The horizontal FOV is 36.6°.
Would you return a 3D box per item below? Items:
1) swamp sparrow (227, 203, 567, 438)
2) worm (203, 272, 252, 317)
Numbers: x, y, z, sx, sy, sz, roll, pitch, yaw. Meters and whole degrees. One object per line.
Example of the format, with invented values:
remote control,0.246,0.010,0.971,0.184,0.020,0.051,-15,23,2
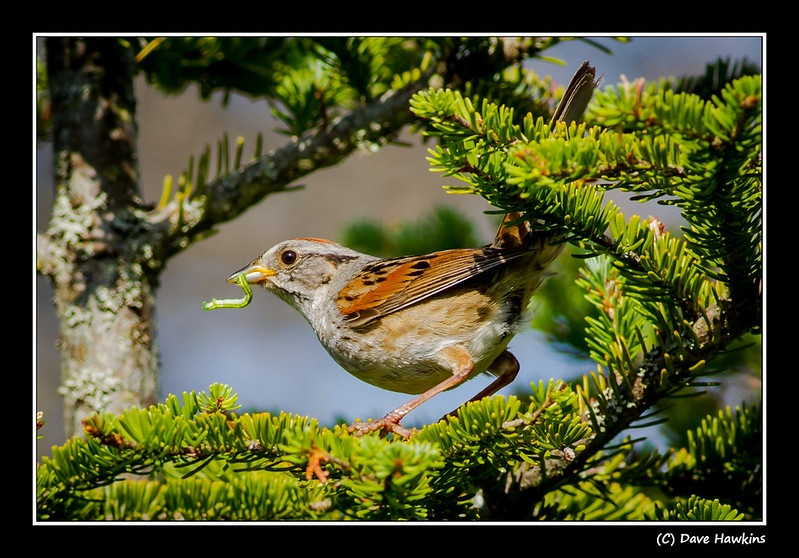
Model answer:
swamp sparrow,0.162,0.191,7.138,1.573,1.284,1.653,-1,-2,-36
worm,-0.994,0.090,6.924,0.335,0.188,0.087,-3,1,-40
